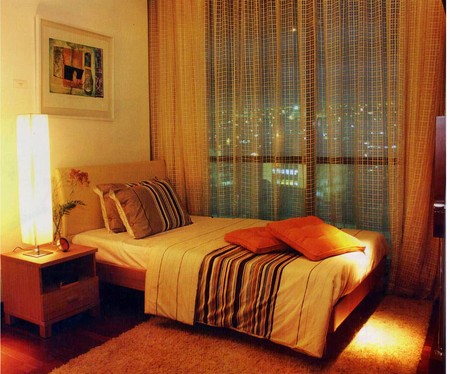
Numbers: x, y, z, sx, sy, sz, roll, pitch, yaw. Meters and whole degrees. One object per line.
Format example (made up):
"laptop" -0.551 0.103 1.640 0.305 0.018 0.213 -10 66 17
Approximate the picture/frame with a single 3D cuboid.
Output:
"picture/frame" -1.418 -1.106 3.585 0.047 0.991 1.089 5 8 31

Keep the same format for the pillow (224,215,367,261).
"pillow" 0.528 0.381 2.840 0.491 0.097 0.467 -4 11 -33

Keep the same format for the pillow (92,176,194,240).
"pillow" -0.697 0.215 3.547 0.186 0.558 0.614 -32 -13 33
